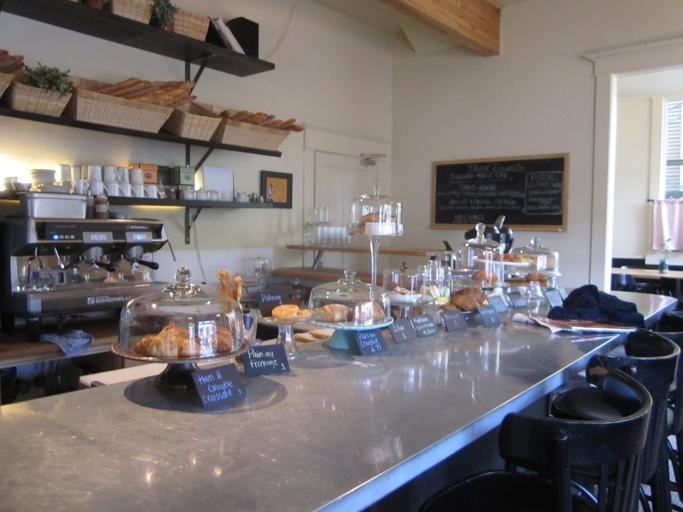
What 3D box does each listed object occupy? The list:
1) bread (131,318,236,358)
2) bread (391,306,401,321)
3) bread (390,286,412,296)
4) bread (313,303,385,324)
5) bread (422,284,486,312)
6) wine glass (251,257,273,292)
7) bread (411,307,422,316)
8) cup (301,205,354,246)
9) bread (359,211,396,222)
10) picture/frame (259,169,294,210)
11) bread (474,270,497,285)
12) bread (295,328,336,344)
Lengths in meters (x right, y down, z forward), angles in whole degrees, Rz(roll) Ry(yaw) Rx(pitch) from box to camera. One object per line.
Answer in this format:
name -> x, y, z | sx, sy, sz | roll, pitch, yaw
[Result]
bread -> -0.428, 0.222, 1.388 | 0.261, 0.088, 0.071 | -2, 4, -10
bread -> 0.221, 0.241, 2.124 | 0.046, 0.050, 0.046 | 2, -4, -2
bread -> 0.249, 0.145, 2.155 | 0.094, 0.022, 0.063 | -1, 4, 7
bread -> 0.022, 0.197, 1.808 | 0.245, 0.074, 0.069 | -2, 4, 3
bread -> 0.513, 0.198, 2.298 | 0.225, 0.082, 0.139 | 0, 1, -3
wine glass -> -0.675, 0.135, 4.407 | 0.146, 0.253, 0.369 | -2, 4, -8
bread -> 0.314, 0.231, 2.178 | 0.040, 0.039, 0.041 | -2, -3, 20
cup -> -0.143, -0.257, 4.814 | 0.306, 0.406, 0.481 | 0, -3, 3
bread -> 0.160, -0.170, 2.284 | 0.154, 0.045, 0.089 | -1, 4, 6
picture/frame -> -0.589, -0.588, 4.556 | 0.022, 0.327, 0.404 | 5, 4, 34
bread -> 0.704, 0.109, 2.538 | 0.077, 0.073, 0.071 | 0, 4, 3
bread -> -0.115, 0.324, 2.093 | 0.152, 0.030, 0.207 | -2, 4, 1
